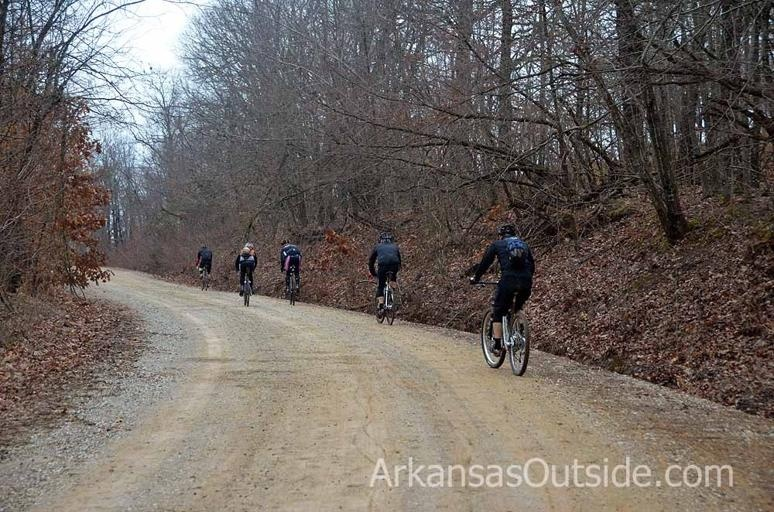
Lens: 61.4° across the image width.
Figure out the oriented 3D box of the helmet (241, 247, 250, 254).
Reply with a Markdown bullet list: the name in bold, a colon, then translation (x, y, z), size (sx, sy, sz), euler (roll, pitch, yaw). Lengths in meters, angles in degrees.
- **helmet**: translation (-5.246, -0.221, 24.054), size (0.280, 0.270, 0.230), euler (-2, 11, -12)

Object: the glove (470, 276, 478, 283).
- **glove**: translation (1.840, 0.477, 13.540), size (0.114, 0.087, 0.160), euler (4, 6, 13)

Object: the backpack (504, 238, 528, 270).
- **backpack**: translation (2.555, -0.024, 12.895), size (0.457, 0.658, 0.372), euler (0, -25, -8)

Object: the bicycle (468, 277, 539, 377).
- **bicycle**: translation (2.356, 1.740, 13.220), size (0.906, 1.238, 1.927), euler (1, -3, -5)

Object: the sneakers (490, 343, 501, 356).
- **sneakers**: translation (2.208, 1.873, 13.191), size (0.206, 0.258, 0.629), euler (1, -7, -2)

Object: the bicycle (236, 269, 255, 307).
- **bicycle**: translation (-5.027, 1.208, 23.202), size (0.669, 0.844, 1.373), euler (3, 14, -22)

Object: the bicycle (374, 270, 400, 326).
- **bicycle**: translation (-0.021, 1.216, 18.480), size (0.529, 1.485, 0.960), euler (-1, 11, -1)

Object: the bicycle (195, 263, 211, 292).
- **bicycle**: translation (-8.778, 0.947, 31.648), size (0.855, 1.102, 1.720), euler (-3, 8, -29)
